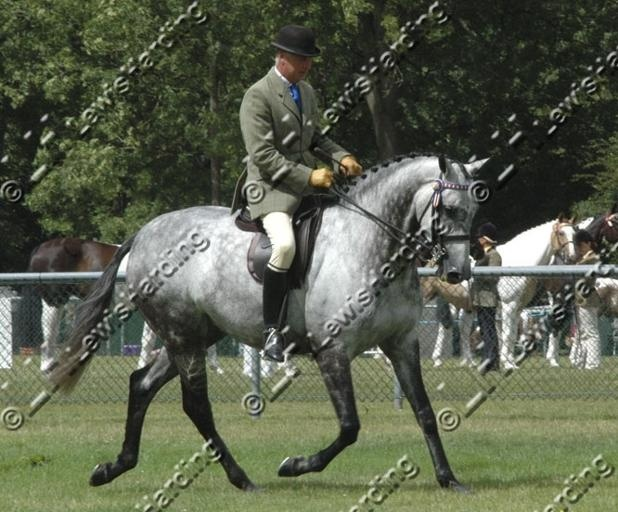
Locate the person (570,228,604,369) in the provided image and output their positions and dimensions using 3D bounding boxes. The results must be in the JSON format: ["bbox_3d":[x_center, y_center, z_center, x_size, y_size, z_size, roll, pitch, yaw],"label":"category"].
[{"bbox_3d":[4.980,0.829,31.597,0.813,2.707,0.575,4,3,28],"label":"person"}]

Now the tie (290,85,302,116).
[{"bbox_3d":[-0.254,-2.296,25.544,0.126,0.387,0.195,-11,-15,39],"label":"tie"}]

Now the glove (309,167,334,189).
[{"bbox_3d":[0.145,-1.161,25.329,0.255,0.323,0.551,-11,6,-7],"label":"glove"}]

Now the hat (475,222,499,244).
[{"bbox_3d":[3.396,-0.425,33.153,0.304,0.392,0.396,-2,1,6],"label":"hat"}]

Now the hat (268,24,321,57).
[{"bbox_3d":[-0.227,-3.136,25.391,0.701,0.465,0.335,-1,14,-1],"label":"hat"}]
